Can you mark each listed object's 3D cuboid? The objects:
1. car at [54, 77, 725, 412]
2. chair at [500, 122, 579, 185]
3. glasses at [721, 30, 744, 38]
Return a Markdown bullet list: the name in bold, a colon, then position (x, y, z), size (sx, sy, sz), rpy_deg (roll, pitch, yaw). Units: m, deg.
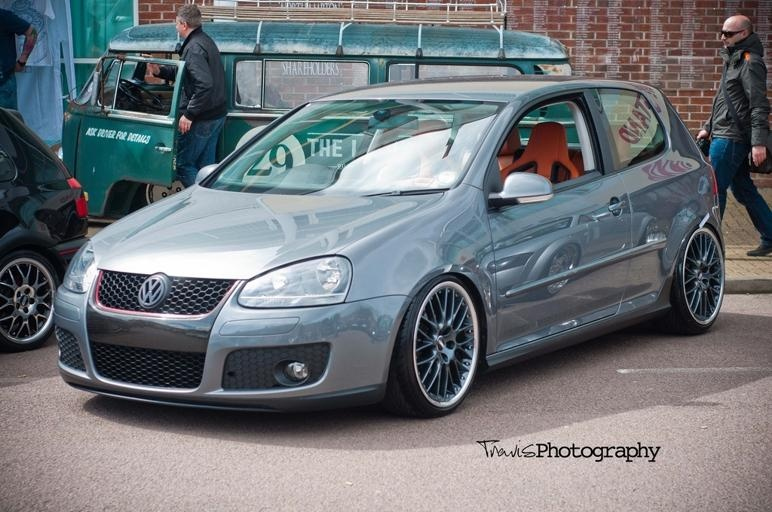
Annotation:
- **car**: position (0.228, -0.277, 5.012), size (4.978, 2.383, 1.866), rpy_deg (-7, 12, -34)
- **chair**: position (1.328, -0.742, 5.473), size (0.630, 0.651, 0.538), rpy_deg (2, 35, 8)
- **glasses**: position (4.657, -2.983, 8.618), size (0.152, 0.048, 0.147), rpy_deg (-5, 10, -18)
